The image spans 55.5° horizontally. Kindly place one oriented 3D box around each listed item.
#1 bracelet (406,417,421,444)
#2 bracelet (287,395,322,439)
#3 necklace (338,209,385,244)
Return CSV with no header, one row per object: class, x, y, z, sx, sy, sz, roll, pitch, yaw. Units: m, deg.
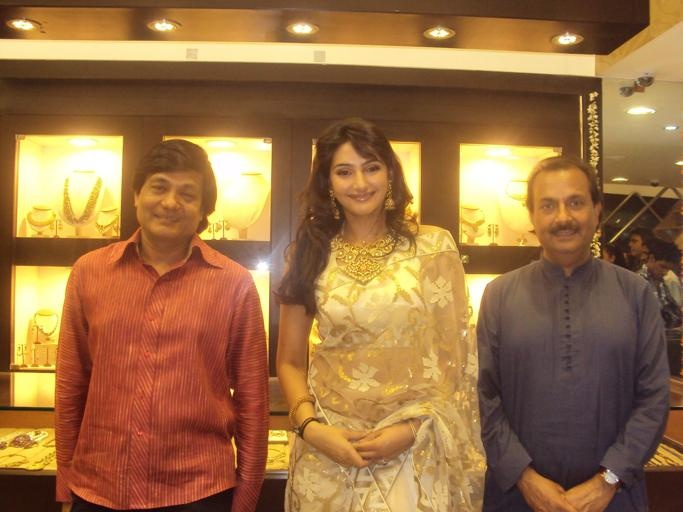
bracelet,0.316,0.787,2.871,0.033,0.083,0.064,7,-10,-9
bracelet,-0.176,0.753,2.993,0.137,0.167,0.084,-8,-12,22
necklace,0.103,-0.127,3.117,0.214,0.189,0.160,0,-2,2
